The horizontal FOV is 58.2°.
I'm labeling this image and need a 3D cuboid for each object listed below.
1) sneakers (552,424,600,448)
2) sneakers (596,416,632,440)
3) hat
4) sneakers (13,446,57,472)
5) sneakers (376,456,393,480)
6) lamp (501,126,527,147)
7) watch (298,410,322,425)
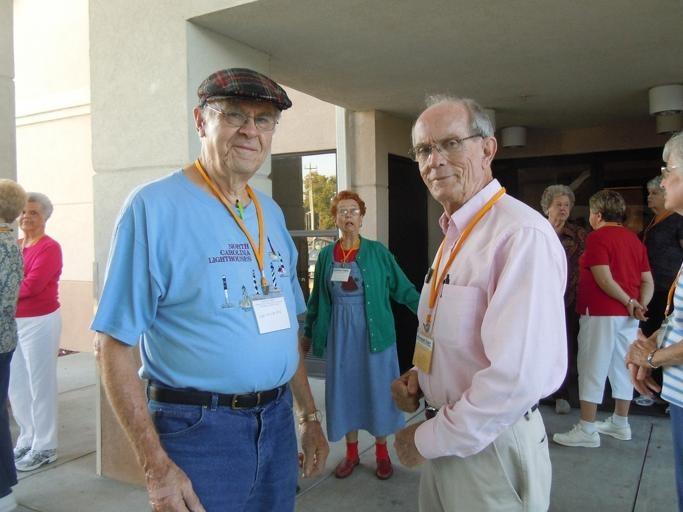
[{"bbox_3d":[1.954,1.480,5.165,0.403,0.227,0.169,1,3,13],"label":"sneakers"},{"bbox_3d":[2.319,1.461,5.304,0.136,0.158,0.338,-5,4,-20],"label":"sneakers"},{"bbox_3d":[-0.456,-0.790,2.876,0.268,0.100,0.241,1,8,2],"label":"hat"},{"bbox_3d":[-2.416,1.622,4.916,0.122,0.170,0.346,14,7,38],"label":"sneakers"},{"bbox_3d":[0.321,1.609,4.655,0.137,0.123,0.165,-2,6,3],"label":"sneakers"},{"bbox_3d":[2.122,-1.442,7.582,0.232,0.200,0.252,-1,2,12],"label":"lamp"},{"bbox_3d":[-0.163,0.836,3.153,0.102,0.072,0.110,-5,-18,-2],"label":"watch"}]
